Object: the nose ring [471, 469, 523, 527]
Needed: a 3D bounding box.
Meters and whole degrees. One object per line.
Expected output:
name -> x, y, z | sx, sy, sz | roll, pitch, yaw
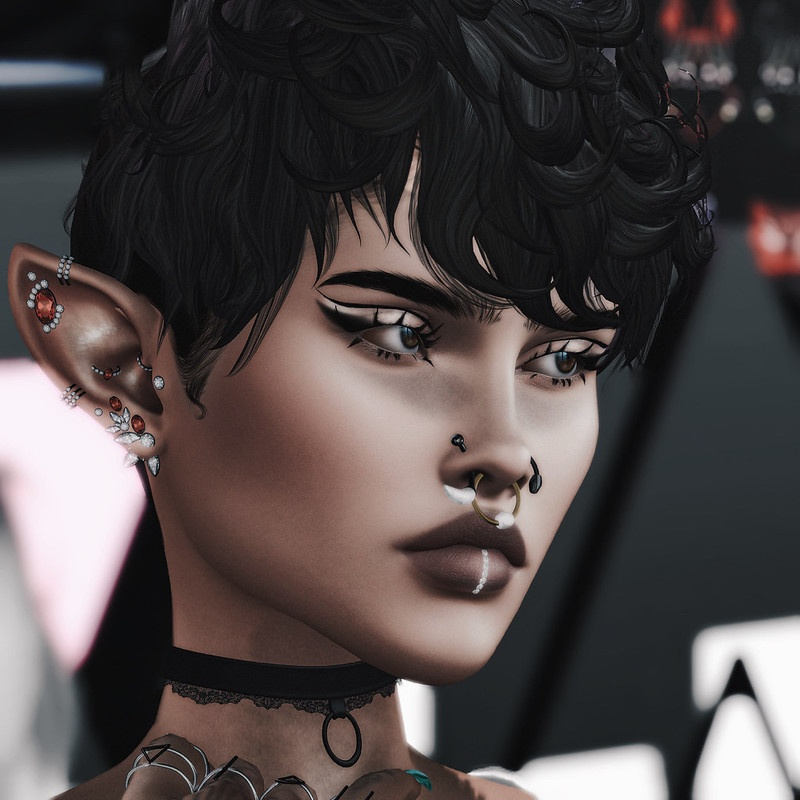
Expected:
nose ring -> 0.163, 0.166, 2.100 | 0.113, 0.020, 0.113 | 1, 87, -22
